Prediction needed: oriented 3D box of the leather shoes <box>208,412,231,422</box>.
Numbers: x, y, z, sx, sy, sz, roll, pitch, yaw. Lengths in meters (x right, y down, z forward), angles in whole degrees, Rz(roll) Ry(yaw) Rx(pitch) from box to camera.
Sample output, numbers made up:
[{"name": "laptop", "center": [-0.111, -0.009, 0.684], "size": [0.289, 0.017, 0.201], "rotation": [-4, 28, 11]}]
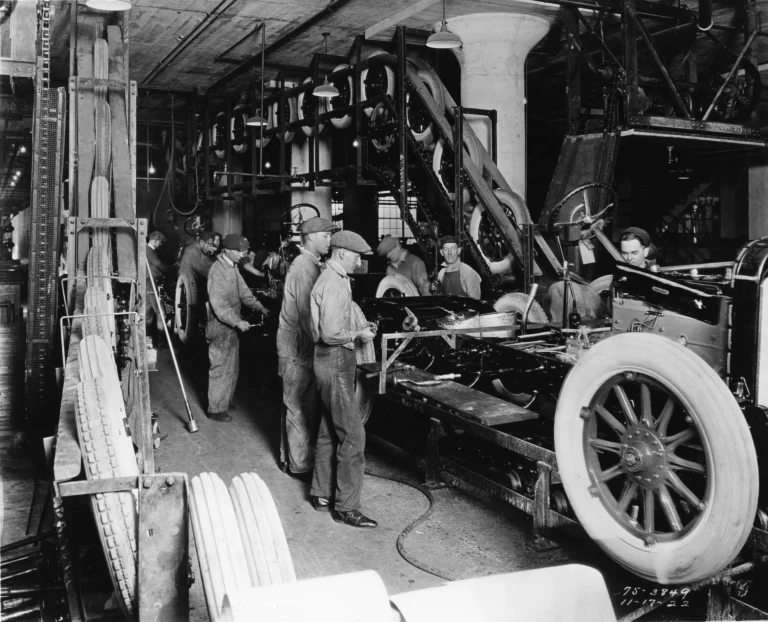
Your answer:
[{"name": "leather shoes", "center": [-1.748, 1.127, 8.625], "size": [0.229, 0.070, 0.199], "rotation": [-2, 9, -13]}]

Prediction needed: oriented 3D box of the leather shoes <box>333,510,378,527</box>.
[{"name": "leather shoes", "center": [-0.210, 1.520, 6.071], "size": [0.305, 0.156, 0.131], "rotation": [2, 1, 17]}]

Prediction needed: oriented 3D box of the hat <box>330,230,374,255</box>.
[{"name": "hat", "center": [-0.244, -0.535, 6.234], "size": [0.236, 0.132, 0.183], "rotation": [11, 15, -10]}]

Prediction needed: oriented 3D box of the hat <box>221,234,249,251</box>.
[{"name": "hat", "center": [-1.590, -0.741, 8.746], "size": [0.176, 0.094, 0.199], "rotation": [7, 11, 14]}]

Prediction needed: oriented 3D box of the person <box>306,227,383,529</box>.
[{"name": "person", "center": [-0.325, 0.471, 6.251], "size": [0.523, 2.158, 0.936], "rotation": [-1, 7, -6]}]

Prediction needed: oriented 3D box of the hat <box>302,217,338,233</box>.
[{"name": "hat", "center": [-0.565, -0.720, 6.811], "size": [0.194, 0.086, 0.150], "rotation": [3, 7, 39]}]

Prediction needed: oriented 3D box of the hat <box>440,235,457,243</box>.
[{"name": "hat", "center": [0.730, -0.801, 9.086], "size": [0.122, 0.102, 0.138], "rotation": [1, 4, 6]}]

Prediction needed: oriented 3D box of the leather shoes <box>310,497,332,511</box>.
[{"name": "leather shoes", "center": [-0.497, 1.513, 6.350], "size": [0.184, 0.088, 0.076], "rotation": [12, 7, 37]}]

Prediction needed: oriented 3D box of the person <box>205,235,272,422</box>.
[{"name": "person", "center": [-1.687, 0.109, 9.172], "size": [0.649, 1.980, 1.444], "rotation": [-1, 8, -9]}]
